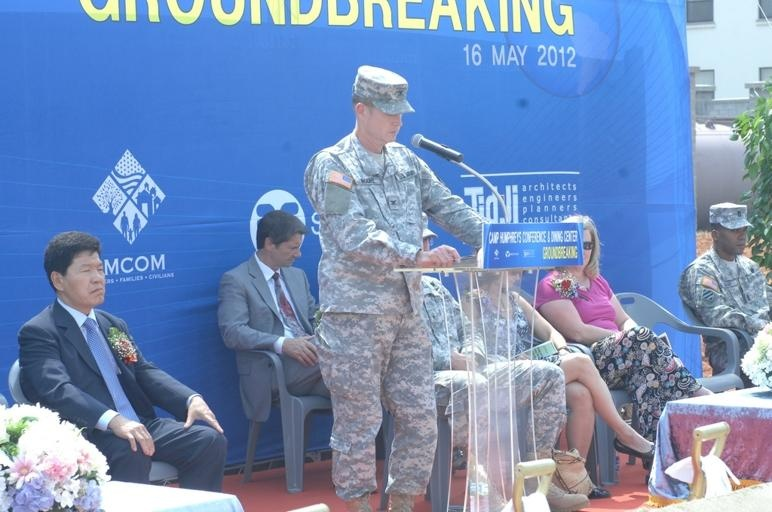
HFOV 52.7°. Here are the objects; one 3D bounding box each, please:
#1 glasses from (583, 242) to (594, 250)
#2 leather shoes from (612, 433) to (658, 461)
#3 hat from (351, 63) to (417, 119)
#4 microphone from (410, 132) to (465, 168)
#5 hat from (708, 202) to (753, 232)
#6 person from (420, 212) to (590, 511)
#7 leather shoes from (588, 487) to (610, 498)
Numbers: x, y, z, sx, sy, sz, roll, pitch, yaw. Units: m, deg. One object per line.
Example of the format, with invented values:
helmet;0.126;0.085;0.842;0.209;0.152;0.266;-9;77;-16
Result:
glasses;1.463;-0.074;5.655;0.077;0.036;0.081;-2;6;-30
leather shoes;1.629;1.295;5.165;0.315;0.098;0.106;24;10;-6
hat;-0.029;-0.873;4.199;0.308;0.165;0.230;21;25;18
microphone;0.254;-0.532;4.024;0.225;0.155;0.338;-7;0;2
hat;2.970;-0.330;6.722;0.332;0.177;0.255;0;2;43
person;0.582;0.842;4.376;0.884;1.410;1.408;-6;0;12
leather shoes;1.382;1.533;5.049;0.158;0.065;0.059;-2;-1;21
